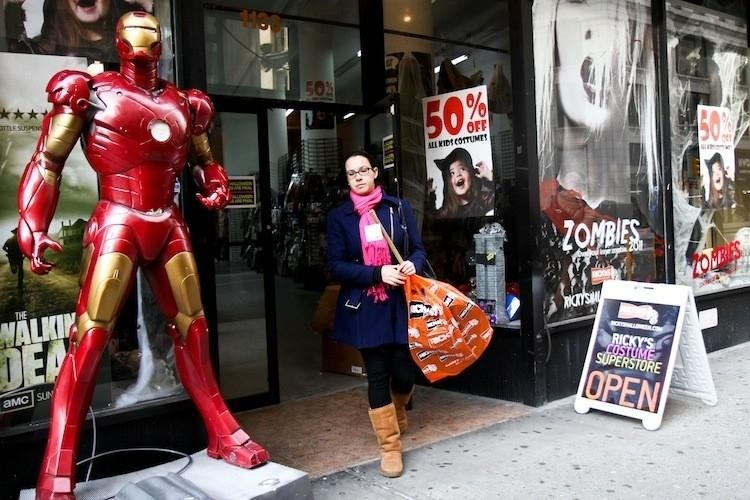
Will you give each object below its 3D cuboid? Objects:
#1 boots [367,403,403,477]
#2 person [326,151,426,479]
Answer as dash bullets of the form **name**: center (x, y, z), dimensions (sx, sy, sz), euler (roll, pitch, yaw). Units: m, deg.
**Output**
- **boots**: center (0.072, 1.194, 3.644), dimensions (0.178, 0.417, 0.150), euler (-3, 5, -6)
- **person**: center (0.025, 0.370, 3.857), dimensions (0.586, 2.018, 0.546), euler (1, 6, 37)
